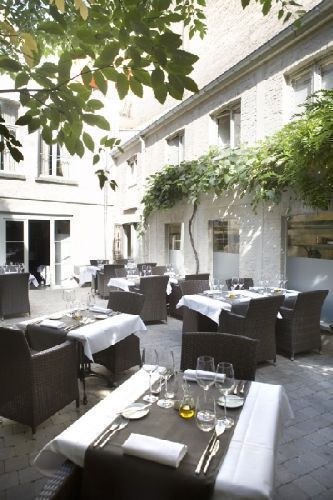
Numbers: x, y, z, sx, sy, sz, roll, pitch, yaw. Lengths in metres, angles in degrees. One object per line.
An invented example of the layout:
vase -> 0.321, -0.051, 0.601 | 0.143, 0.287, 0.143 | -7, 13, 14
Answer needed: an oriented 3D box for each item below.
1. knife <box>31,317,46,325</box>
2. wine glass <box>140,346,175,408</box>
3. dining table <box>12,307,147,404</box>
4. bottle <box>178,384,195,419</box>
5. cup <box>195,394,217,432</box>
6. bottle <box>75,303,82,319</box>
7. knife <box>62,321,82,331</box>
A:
knife -> -1.281, 0.703, 3.738 | 0.047, 0.010, 0.174 | 2, 3, 7
wine glass -> -0.014, 0.672, 2.031 | 0.165, 0.343, 0.252 | -1, -4, 20
dining table -> -0.706, 0.875, 3.780 | 0.860, 0.632, 0.966 | 2, 2, 37
bottle -> 0.098, 0.749, 1.808 | 0.068, 0.174, 0.080 | -2, 12, -7
cup -> 0.181, 0.763, 1.738 | 0.089, 0.147, 0.091 | -2, 9, 0
bottle -> -0.916, 0.664, 3.973 | 0.090, 0.185, 0.096 | 2, -3, 0
knife -> -0.888, 0.709, 3.571 | 0.051, 0.039, 0.250 | 2, 6, 12
